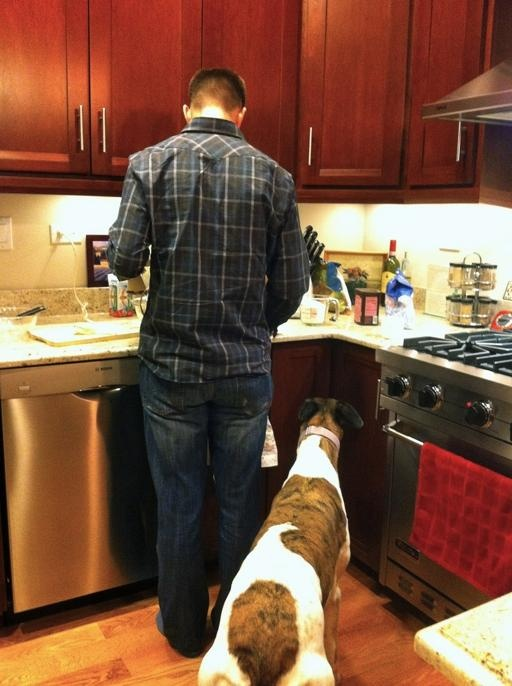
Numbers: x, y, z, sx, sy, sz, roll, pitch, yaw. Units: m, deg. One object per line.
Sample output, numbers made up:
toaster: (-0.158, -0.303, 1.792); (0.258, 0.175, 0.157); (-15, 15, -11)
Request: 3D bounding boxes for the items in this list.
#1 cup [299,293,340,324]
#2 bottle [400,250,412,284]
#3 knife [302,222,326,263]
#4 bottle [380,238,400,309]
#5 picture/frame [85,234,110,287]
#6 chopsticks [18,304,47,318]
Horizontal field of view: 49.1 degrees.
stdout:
cup: (0.257, -0.138, 2.224); (0.139, 0.108, 0.113); (-2, 12, -17)
bottle: (0.706, -0.358, 2.633); (0.053, 0.145, 0.109); (4, 13, 15)
knife: (0.236, -0.403, 2.394); (0.072, 0.064, 0.272); (6, -26, 10)
bottle: (0.591, -0.305, 2.480); (0.072, 0.296, 0.535); (3, 13, 13)
picture/frame: (-0.613, -0.328, 2.210); (0.150, 0.227, 0.015); (4, 8, 31)
chopsticks: (-0.806, -0.118, 2.002); (0.097, 0.028, 0.029); (-17, -20, 8)
